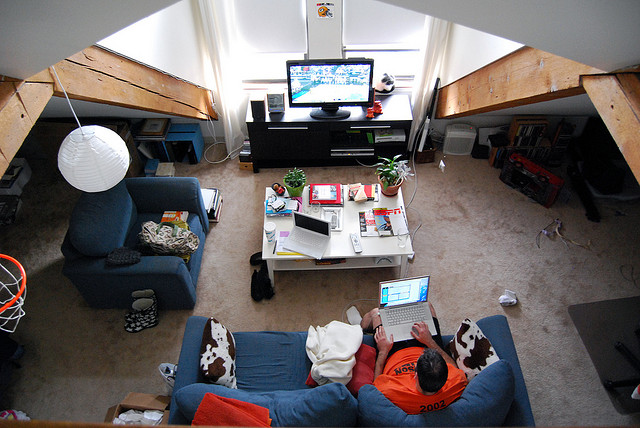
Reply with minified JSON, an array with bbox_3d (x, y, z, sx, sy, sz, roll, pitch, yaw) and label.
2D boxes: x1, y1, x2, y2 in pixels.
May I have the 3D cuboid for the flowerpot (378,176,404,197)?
[{"bbox_3d":[0.841,-0.276,5.054,0.250,0.178,0.245,7,56,7],"label":"flowerpot"}]

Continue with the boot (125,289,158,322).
[{"bbox_3d":[-1.892,0.949,4.482,0.310,0.364,0.139,2,22,8],"label":"boot"}]

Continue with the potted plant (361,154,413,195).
[{"bbox_3d":[0.857,-0.436,5.084,0.411,0.495,0.432,-5,20,-17],"label":"potted plant"}]

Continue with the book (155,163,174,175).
[{"bbox_3d":[-2.128,-0.622,5.835,0.147,0.042,0.215,3,45,-4],"label":"book"}]

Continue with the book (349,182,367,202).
[{"bbox_3d":[0.456,-0.257,5.116,0.174,0.153,0.217,-5,22,-11],"label":"book"}]

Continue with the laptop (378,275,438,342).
[{"bbox_3d":[0.842,0.890,4.022,0.516,0.352,0.428,-5,40,-4],"label":"laptop"}]

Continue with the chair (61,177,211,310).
[{"bbox_3d":[-1.997,0.253,4.790,1.284,1.006,1.313,6,46,-8],"label":"chair"}]

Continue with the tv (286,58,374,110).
[{"bbox_3d":[0.154,-1.645,5.459,1.110,0.647,0.324,-1,22,-1],"label":"tv"}]

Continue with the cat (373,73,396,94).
[{"bbox_3d":[0.921,-1.794,5.929,0.232,0.292,0.125,11,-5,4],"label":"cat"}]

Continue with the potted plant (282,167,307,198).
[{"bbox_3d":[-0.326,-0.355,5.087,0.243,0.326,0.213,25,51,15],"label":"potted plant"}]

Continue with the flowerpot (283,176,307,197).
[{"bbox_3d":[-0.286,-0.309,5.111,0.247,0.170,0.223,-6,22,-11],"label":"flowerpot"}]

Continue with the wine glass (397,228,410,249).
[{"bbox_3d":[0.916,0.269,4.674,0.123,0.143,0.123,24,53,19],"label":"wine glass"}]

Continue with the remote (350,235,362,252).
[{"bbox_3d":[0.403,0.313,4.664,0.086,0.133,0.166,-6,22,-11],"label":"remote"}]

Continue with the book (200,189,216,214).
[{"bbox_3d":[-1.416,-0.182,5.418,0.254,0.059,0.252,5,52,-2],"label":"book"}]

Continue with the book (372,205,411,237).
[{"bbox_3d":[0.791,0.083,4.846,0.482,0.038,0.534,-3,41,-2],"label":"book"}]

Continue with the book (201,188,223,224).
[{"bbox_3d":[-1.367,-0.123,5.466,0.386,0.086,0.375,2,64,-8],"label":"book"}]

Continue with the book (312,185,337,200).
[{"bbox_3d":[0.059,-0.263,5.079,0.290,0.117,0.193,-1,22,1],"label":"book"}]

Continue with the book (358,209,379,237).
[{"bbox_3d":[0.547,0.117,4.828,0.229,0.042,0.325,-5,54,-1],"label":"book"}]

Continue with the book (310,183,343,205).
[{"bbox_3d":[0.080,-0.248,5.108,0.384,0.186,0.280,0,22,2],"label":"book"}]

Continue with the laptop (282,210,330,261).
[{"bbox_3d":[-0.158,0.211,4.597,0.470,0.290,0.368,25,55,19],"label":"laptop"}]

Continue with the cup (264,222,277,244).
[{"bbox_3d":[-0.547,0.206,4.692,0.106,0.214,0.090,-4,22,-8],"label":"cup"}]

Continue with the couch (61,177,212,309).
[{"bbox_3d":[-1.989,0.228,4.808,1.321,1.037,1.316,4,46,-10],"label":"couch"}]

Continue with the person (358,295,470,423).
[{"bbox_3d":[0.844,1.242,3.677,0.457,0.440,0.859,-4,35,-1],"label":"person"}]
